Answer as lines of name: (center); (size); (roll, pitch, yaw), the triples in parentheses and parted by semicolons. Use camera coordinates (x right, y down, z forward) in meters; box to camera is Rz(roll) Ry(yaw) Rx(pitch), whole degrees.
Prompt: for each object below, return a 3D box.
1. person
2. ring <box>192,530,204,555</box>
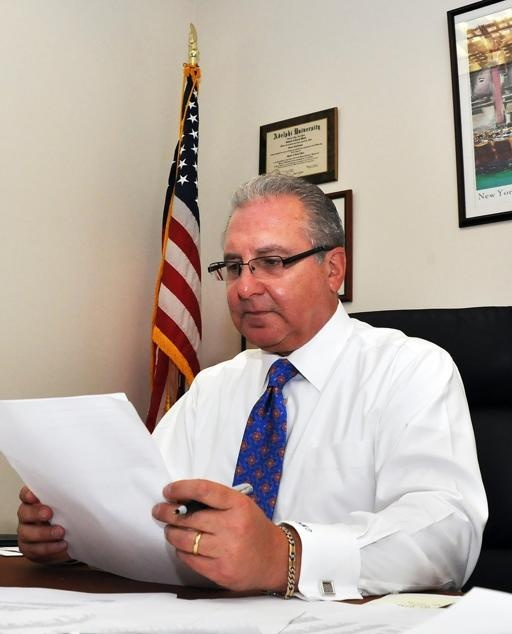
person: (-0.029, 0.089, 1.224); (0.697, 0.907, 0.576); (-23, -37, 33)
ring: (-0.067, 0.243, 0.649); (0.005, 0.020, 0.017); (12, -16, -2)
